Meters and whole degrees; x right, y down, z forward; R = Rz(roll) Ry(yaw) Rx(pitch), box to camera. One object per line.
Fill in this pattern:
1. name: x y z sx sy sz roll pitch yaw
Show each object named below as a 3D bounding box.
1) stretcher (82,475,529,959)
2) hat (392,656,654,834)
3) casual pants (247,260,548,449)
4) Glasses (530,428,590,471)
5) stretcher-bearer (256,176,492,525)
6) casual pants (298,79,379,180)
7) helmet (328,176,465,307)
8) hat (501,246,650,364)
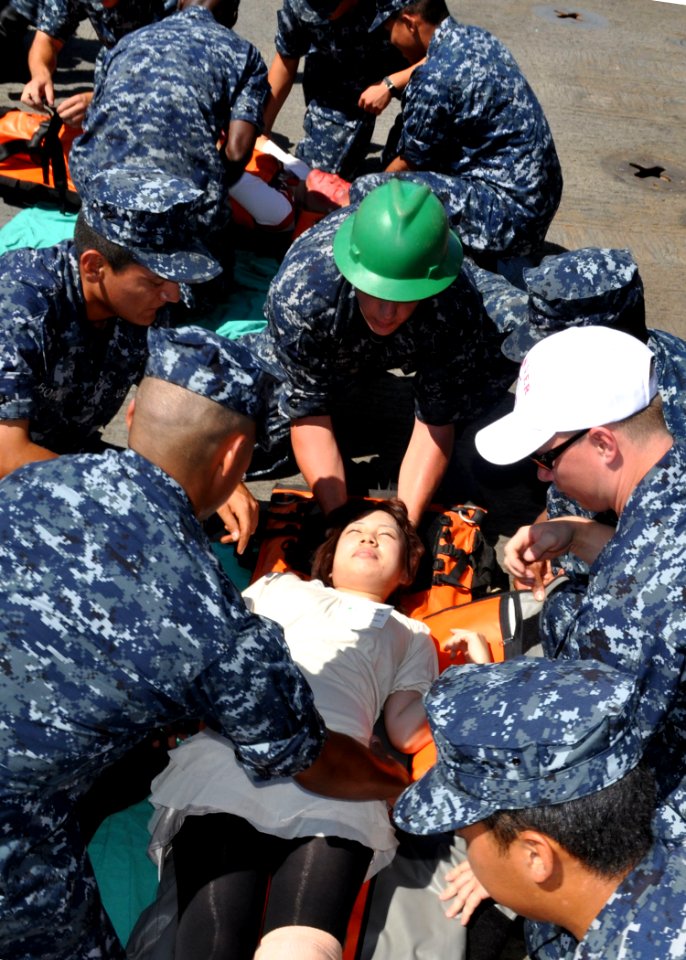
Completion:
1. stretcher: -0.106 0.651 2.398 1.046 0.342 1.165 0 62 7
2. hat: 0.350 0.481 1.772 0.512 0.227 0.361 -8 7 30
3. casual pants: 0.236 -0.528 3.697 0.988 0.936 0.889 -2 12 -19
4. Glasses: 0.523 -0.071 2.287 0.098 0.026 0.092 -37 10 -9
5. stretcher-bearer: 0.096 -0.431 3.544 1.125 1.209 1.444 -1 0 0
6. casual pants: -0.038 -2.152 5.707 0.458 0.524 0.332 10 42 -4
7. helmet: 0.184 -0.814 3.135 0.447 0.364 0.400 8 36 0
8. hat: 0.773 -0.653 3.263 0.542 0.261 0.350 -20 40 -10
